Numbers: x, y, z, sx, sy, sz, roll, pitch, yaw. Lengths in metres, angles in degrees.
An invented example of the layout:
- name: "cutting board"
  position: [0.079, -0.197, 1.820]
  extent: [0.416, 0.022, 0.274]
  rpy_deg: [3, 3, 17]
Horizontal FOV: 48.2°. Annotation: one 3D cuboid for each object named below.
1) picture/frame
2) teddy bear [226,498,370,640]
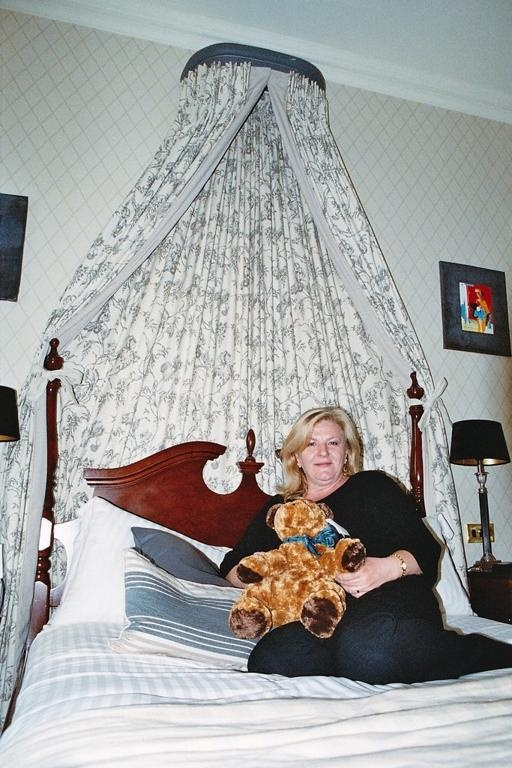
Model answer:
- name: "picture/frame"
  position: [1.109, -0.378, 2.937]
  extent: [0.517, 0.573, 0.024]
  rpy_deg: [3, -13, -22]
- name: "teddy bear"
  position: [0.100, 0.406, 1.304]
  extent: [0.296, 0.146, 0.368]
  rpy_deg: [-12, 22, 12]
